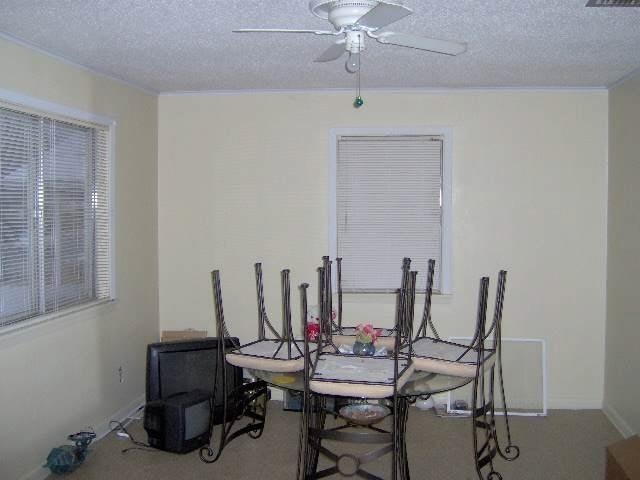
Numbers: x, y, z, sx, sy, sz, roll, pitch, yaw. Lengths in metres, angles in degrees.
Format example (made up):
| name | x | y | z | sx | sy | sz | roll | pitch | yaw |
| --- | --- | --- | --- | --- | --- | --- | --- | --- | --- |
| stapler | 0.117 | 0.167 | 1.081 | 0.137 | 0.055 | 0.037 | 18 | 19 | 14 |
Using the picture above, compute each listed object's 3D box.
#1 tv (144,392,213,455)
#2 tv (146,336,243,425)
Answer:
| name | x | y | z | sx | sy | sz | roll | pitch | yaw |
| --- | --- | --- | --- | --- | --- | --- | --- | --- | --- |
| tv | -1.159 | 1.463 | 4.353 | 0.504 | 0.453 | 0.469 | 2 | 2 | 27 |
| tv | -1.057 | 1.164 | 4.273 | 0.735 | 0.687 | 0.417 | -3 | -18 | -16 |
